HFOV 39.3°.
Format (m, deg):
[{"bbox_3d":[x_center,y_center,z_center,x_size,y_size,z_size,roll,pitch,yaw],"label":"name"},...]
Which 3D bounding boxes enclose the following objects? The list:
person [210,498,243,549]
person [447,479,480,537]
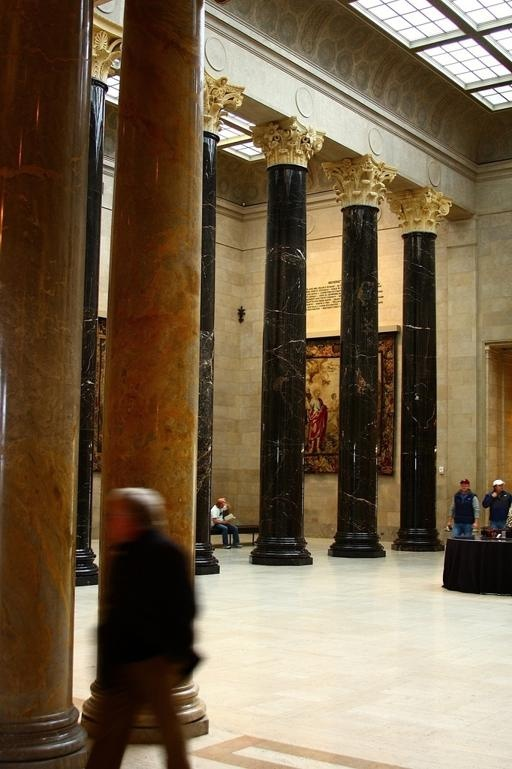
[{"bbox_3d":[-0.658,3.046,15.910,0.623,1.024,1.203,1,-4,-1],"label":"person"},{"bbox_3d":[3.711,2.229,12.854,0.462,1.036,0.829,0,-4,16],"label":"person"}]
